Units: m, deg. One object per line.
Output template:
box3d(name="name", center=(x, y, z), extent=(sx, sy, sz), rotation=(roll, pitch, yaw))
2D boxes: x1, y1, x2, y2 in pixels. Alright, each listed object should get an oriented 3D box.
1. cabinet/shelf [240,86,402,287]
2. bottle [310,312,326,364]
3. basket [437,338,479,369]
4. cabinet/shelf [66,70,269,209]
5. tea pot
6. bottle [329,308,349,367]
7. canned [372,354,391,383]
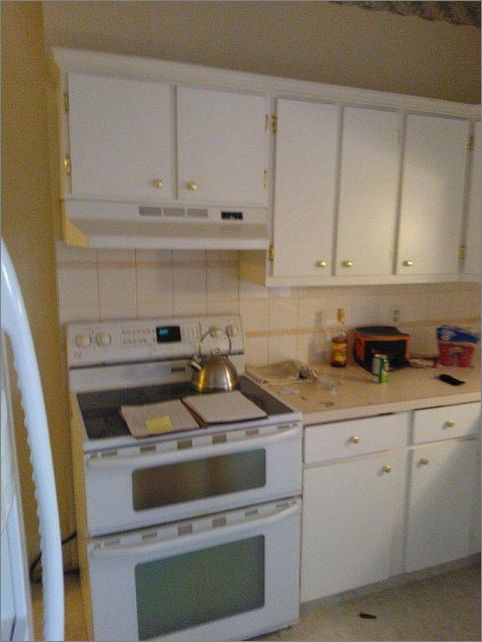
box3d(name="cabinet/shelf", center=(0.511, -0.503, 2.274), extent=(0.262, 0.706, 0.652), rotation=(-4, 9, -36))
box3d(name="bottle", center=(0.393, 0.076, 2.590), extent=(0.102, 0.258, 0.014), rotation=(-4, 13, -27))
box3d(name="basket", center=(1.057, 0.158, 2.571), extent=(0.169, 0.111, 0.128), rotation=(1, 4, 4))
box3d(name="cabinet/shelf", center=(-0.286, -0.663, 1.964), extent=(0.811, 0.441, 0.283), rotation=(-7, 18, -28))
box3d(name="tea pot", center=(-0.117, 0.150, 2.078), extent=(0.246, 0.238, 0.200), rotation=(-8, 15, -42))
box3d(name="bottle", center=(0.489, 0.077, 2.574), extent=(0.091, 0.269, 0.183), rotation=(4, 11, 12))
box3d(name="canned", center=(0.613, 0.205, 2.294), extent=(0.047, 0.115, 0.099), rotation=(-1, 11, -13))
